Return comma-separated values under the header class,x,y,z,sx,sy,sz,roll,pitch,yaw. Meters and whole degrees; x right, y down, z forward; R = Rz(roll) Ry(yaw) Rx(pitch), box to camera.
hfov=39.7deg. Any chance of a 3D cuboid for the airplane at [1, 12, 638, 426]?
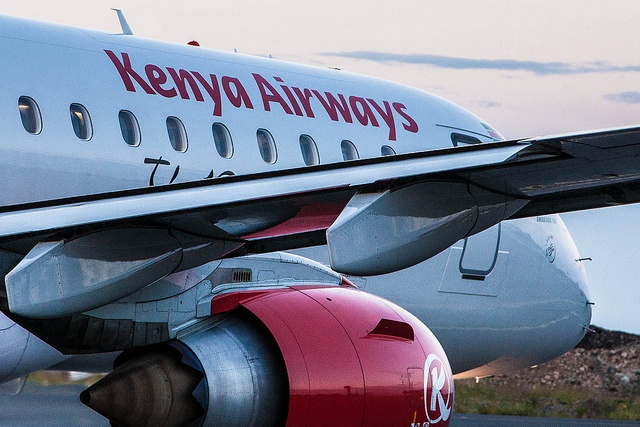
class,x,y,z,sx,sy,sz,roll,pitch,yaw
airplane,0.198,0.232,7.215,4.748,1.948,4.706,8,-12,-44
